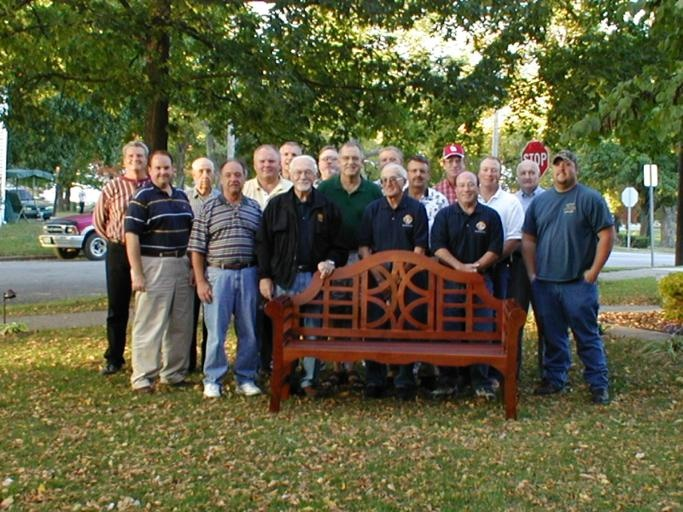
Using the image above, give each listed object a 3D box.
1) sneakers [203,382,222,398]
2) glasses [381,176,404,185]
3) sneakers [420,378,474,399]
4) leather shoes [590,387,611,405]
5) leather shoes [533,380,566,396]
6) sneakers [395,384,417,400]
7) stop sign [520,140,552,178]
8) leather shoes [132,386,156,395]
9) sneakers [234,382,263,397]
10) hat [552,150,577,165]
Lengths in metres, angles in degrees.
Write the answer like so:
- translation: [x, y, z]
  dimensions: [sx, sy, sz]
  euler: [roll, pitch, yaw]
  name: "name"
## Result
- translation: [-1.358, 1.420, 7.808]
  dimensions: [0.191, 0.138, 0.230]
  euler: [-2, 10, -12]
  name: "sneakers"
- translation: [0.571, -0.817, 8.016]
  dimensions: [0.256, 0.100, 0.189]
  euler: [0, 10, 3]
  name: "glasses"
- translation: [1.202, 1.476, 8.142]
  dimensions: [0.607, 0.256, 0.201]
  euler: [9, -8, -31]
  name: "sneakers"
- translation: [2.697, 1.453, 7.667]
  dimensions: [0.192, 0.133, 0.241]
  euler: [3, 10, 19]
  name: "leather shoes"
- translation: [2.259, 1.431, 7.988]
  dimensions: [0.357, 0.156, 0.133]
  euler: [2, 0, -6]
  name: "leather shoes"
- translation: [0.704, 1.473, 7.980]
  dimensions: [0.138, 0.142, 0.185]
  euler: [-3, -5, 12]
  name: "sneakers"
- translation: [4.170, -2.076, 15.895]
  dimensions: [0.586, 0.850, 0.086]
  euler: [3, -24, 7]
  name: "stop sign"
- translation: [-2.108, 1.428, 7.912]
  dimensions: [0.244, 0.071, 0.179]
  euler: [-4, 10, -21]
  name: "leather shoes"
- translation: [-0.993, 1.426, 7.929]
  dimensions: [0.282, 0.103, 0.206]
  euler: [-1, 10, -4]
  name: "sneakers"
- translation: [2.416, -1.053, 7.955]
  dimensions: [0.214, 0.153, 0.375]
  euler: [7, 12, 38]
  name: "hat"
